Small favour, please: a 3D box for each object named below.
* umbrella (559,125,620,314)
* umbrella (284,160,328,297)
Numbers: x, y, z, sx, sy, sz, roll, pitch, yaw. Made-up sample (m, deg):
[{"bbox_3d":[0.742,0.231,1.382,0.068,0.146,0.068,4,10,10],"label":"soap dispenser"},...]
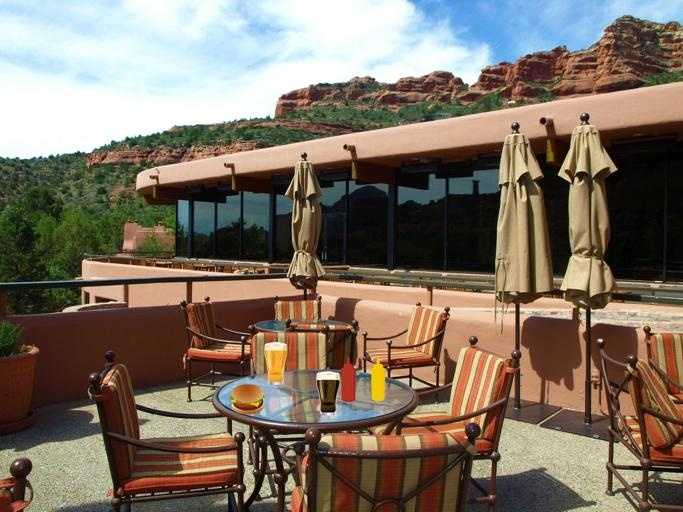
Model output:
[{"bbox_3d":[2.442,-0.422,5.485,0.515,1.378,0.355,-2,0,22],"label":"umbrella"},{"bbox_3d":[-0.526,-0.475,7.649,0.489,1.774,0.418,-2,0,-7],"label":"umbrella"}]
